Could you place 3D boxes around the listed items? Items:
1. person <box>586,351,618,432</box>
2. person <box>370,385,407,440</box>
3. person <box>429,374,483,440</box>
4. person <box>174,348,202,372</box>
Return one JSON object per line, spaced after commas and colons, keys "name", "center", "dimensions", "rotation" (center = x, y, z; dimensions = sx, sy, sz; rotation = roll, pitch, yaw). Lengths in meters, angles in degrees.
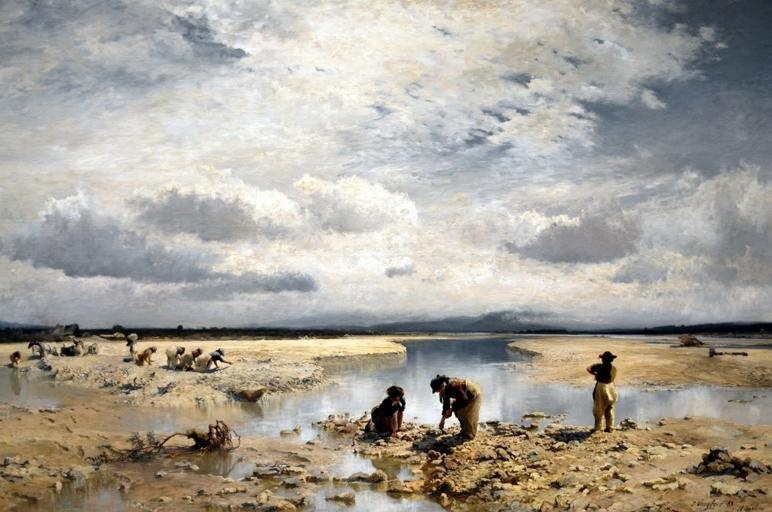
{"name": "person", "center": [8.410, 5.238, 25.996], "dimensions": [1.127, 2.251, 1.023], "rotation": [-7, -3, 11]}
{"name": "person", "center": [0.025, 6.258, 27.216], "dimensions": [1.385, 2.007, 0.953], "rotation": [-5, -3, -3]}
{"name": "person", "center": [2.678, 5.807, 25.858], "dimensions": [1.490, 2.464, 1.112], "rotation": [-4, -4, -23]}
{"name": "person", "center": [-11.573, 6.026, 38.746], "dimensions": [1.680, 1.105, 0.819], "rotation": [-5, -3, 16]}
